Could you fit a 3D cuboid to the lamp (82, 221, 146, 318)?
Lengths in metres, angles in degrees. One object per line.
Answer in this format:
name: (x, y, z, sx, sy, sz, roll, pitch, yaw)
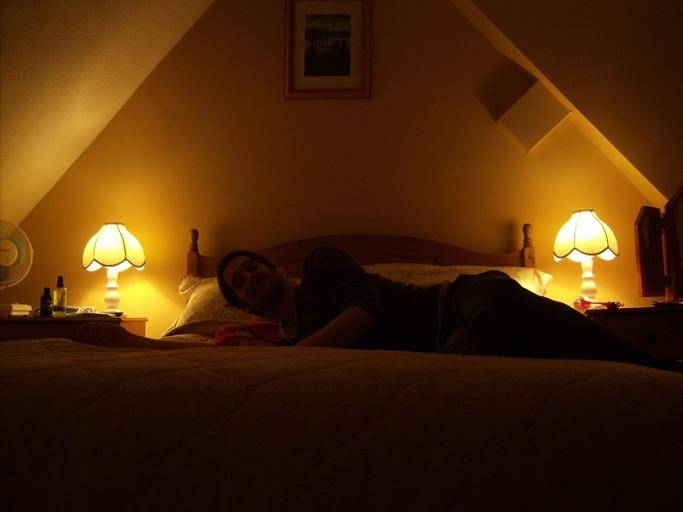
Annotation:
lamp: (-1.296, 0.061, 3.106, 0.406, 0.615, 0.416, -1, 0, -28)
